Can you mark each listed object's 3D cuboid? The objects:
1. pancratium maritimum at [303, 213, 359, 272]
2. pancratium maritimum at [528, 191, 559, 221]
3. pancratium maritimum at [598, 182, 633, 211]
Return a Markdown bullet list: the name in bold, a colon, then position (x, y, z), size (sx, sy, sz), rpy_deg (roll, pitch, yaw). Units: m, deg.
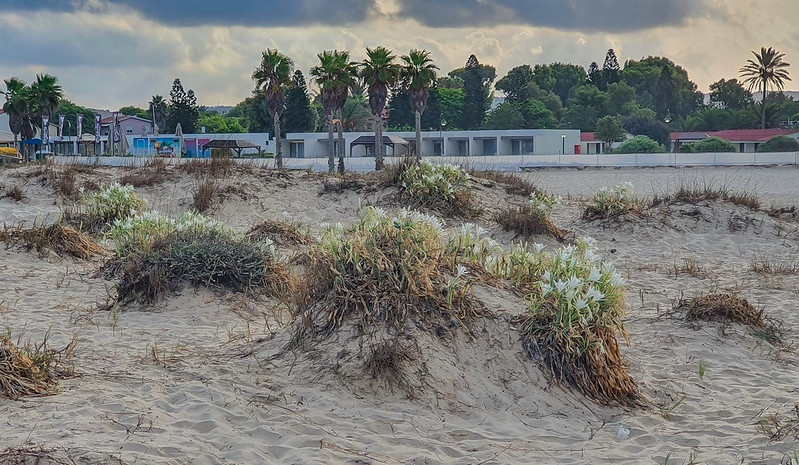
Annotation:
- **pancratium maritimum**: position (-1.315, 0.208, 16.337), size (1.033, 0.651, 1.086), rpy_deg (-30, -3, -33)
- **pancratium maritimum**: position (3.765, -0.849, 23.336), size (0.881, 0.631, 0.897), rpy_deg (9, -5, -1)
- **pancratium maritimum**: position (5.945, -0.970, 24.781), size (0.805, 0.609, 0.826), rpy_deg (-1, 12, 3)
